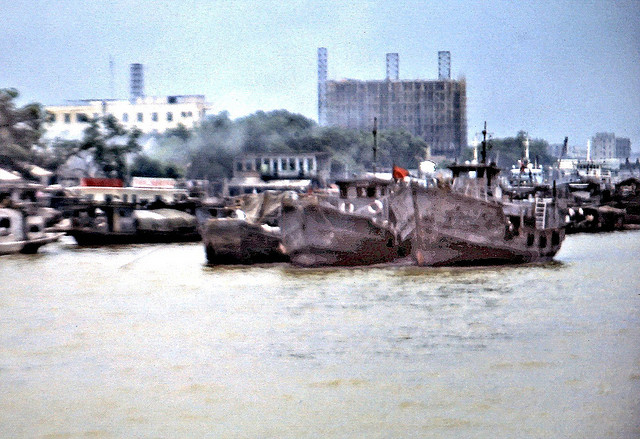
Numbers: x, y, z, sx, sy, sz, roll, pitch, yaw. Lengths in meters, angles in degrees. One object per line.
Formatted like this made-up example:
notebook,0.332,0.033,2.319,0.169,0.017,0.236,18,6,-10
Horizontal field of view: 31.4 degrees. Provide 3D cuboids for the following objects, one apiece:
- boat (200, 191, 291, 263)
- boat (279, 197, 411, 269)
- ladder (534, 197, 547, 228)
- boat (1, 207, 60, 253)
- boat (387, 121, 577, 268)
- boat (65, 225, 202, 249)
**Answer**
boat,-3.155,0.290,50.558,3.532,2.827,9.966,1,3,-3
boat,1.044,0.475,45.474,4.547,1.672,2.932,-2,1,-19
ladder,10.550,-0.270,54.818,0.717,1.419,3.069,0,-8,11
boat,-12.999,0.623,51.616,0.795,1.167,3.729,-8,-6,17
boat,6.694,-0.683,49.271,6.486,5.254,10.933,-2,-5,39
boat,-9.559,0.861,56.757,5.710,0.658,1.141,1,-7,-12
